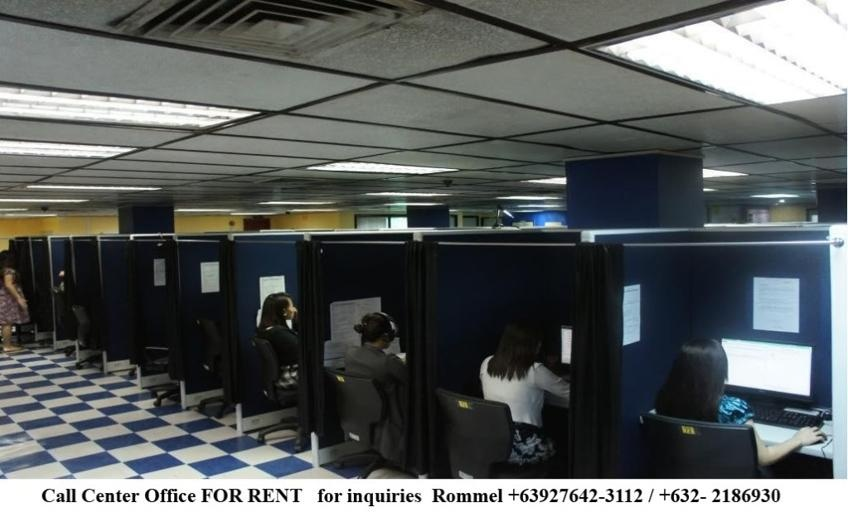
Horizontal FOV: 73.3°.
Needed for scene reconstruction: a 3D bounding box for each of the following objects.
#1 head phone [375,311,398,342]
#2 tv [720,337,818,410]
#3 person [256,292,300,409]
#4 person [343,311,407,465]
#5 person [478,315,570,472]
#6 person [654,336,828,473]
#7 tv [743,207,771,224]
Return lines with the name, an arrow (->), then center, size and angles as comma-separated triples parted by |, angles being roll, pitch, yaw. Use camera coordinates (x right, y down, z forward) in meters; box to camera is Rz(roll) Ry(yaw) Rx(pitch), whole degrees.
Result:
head phone -> -0.306, 0.596, 4.959 | 0.327, 0.195, 0.222 | -3, 8, -12
tv -> 2.456, 0.834, 4.017 | 0.612, 0.314, 0.062 | 0, -1, 31
person -> -1.403, 0.880, 5.500 | 0.364, 0.973, 0.546 | -5, 9, -16
person -> -0.379, 1.049, 4.586 | 0.482, 1.066, 0.802 | -4, 8, -8
person -> 0.768, 0.965, 4.103 | 0.608, 0.915, 0.513 | -3, 9, -7
person -> 2.040, 0.919, 3.704 | 0.892, 0.722, 0.517 | -4, 8, -11
tv -> 9.319, -1.161, 15.939 | 0.540, 0.322, 1.536 | 2, 9, 29
